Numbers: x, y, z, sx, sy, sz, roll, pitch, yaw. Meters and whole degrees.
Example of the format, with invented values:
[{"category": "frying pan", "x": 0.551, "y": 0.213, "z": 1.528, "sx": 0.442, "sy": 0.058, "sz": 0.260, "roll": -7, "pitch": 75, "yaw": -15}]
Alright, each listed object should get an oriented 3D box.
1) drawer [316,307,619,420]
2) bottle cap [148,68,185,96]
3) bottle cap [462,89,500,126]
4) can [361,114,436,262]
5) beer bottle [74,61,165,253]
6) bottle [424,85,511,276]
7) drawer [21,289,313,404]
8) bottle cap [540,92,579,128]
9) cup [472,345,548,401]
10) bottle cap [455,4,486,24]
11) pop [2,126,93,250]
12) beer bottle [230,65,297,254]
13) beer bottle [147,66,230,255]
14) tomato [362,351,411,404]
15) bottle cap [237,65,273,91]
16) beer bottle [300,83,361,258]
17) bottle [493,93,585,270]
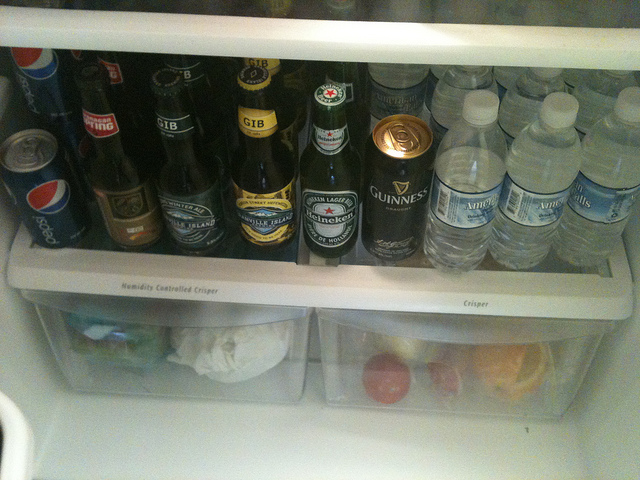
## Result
[{"category": "drawer", "x": 0.306, "y": 0.152, "z": 1.373, "sx": 0.630, "sy": 0.296, "sz": 0.567, "roll": -1, "pitch": 29, "yaw": 5}, {"category": "bottle cap", "x": -0.248, "y": -0.262, "z": 0.880, "sx": 0.054, "sy": 0.023, "sz": 0.063, "roll": 18, "pitch": 47, "yaw": 22}, {"category": "bottle cap", "x": 0.261, "y": -0.218, "z": 0.899, "sx": 0.058, "sy": 0.033, "sz": 0.058, "roll": 25, "pitch": 56, "yaw": 20}, {"category": "can", "x": 0.144, "y": -0.087, "z": 1.021, "sx": 0.119, "sy": 0.292, "sz": 0.114, "roll": -1, "pitch": 52, "yaw": 1}, {"category": "beer bottle", "x": -0.390, "y": -0.148, "z": 1.038, "sx": 0.133, "sy": 0.400, "sz": 0.134, "roll": 2, "pitch": 50, "yaw": -3}, {"category": "bottle", "x": 0.273, "y": -0.119, "z": 1.000, "sx": 0.154, "sy": 0.411, "sz": 0.137, "roll": 0, "pitch": 45, "yaw": 2}, {"category": "drawer", "x": -0.301, "y": 0.219, "z": 1.381, "sx": 0.631, "sy": 0.298, "sz": 0.449, "roll": 4, "pitch": 6, "yaw": 6}, {"category": "bottle cap", "x": 0.404, "y": -0.230, "z": 0.897, "sx": 0.057, "sy": 0.034, "sz": 0.056, "roll": 11, "pitch": 30, "yaw": 7}, {"category": "cup", "x": 0.395, "y": 0.287, "z": 1.163, "sx": 0.154, "sy": 0.117, "sz": 0.061, "roll": -3, "pitch": 18, "yaw": 7}, {"category": "bottle cap", "x": 0.232, "y": -0.349, "z": 0.826, "sx": 0.046, "sy": 0.013, "sz": 0.051, "roll": 5, "pitch": 43, "yaw": 10}, {"category": "pop", "x": -0.525, "y": -0.104, "z": 1.030, "sx": 0.130, "sy": 0.232, "sz": 0.130, "roll": 24, "pitch": 62, "yaw": 8}, {"category": "beer bottle", "x": -0.108, "y": -0.138, "z": 1.016, "sx": 0.121, "sy": 0.360, "sz": 0.119, "roll": 0, "pitch": 40, "yaw": 0}, {"category": "beer bottle", "x": -0.207, "y": -0.139, "z": 1.033, "sx": 0.147, "sy": 0.370, "sz": 0.138, "roll": 0, "pitch": 52, "yaw": 0}, {"category": "tomato", "x": 0.150, "y": 0.307, "z": 1.225, "sx": 0.072, "sy": 0.128, "sz": 0.086, "roll": 16, "pitch": 38, "yaw": 28}, {"category": "bottle cap", "x": -0.107, "y": -0.263, "z": 0.865, "sx": 0.051, "sy": 0.017, "sz": 0.065, "roll": -4, "pitch": 42, "yaw": 0}, {"category": "beer bottle", "x": 0.017, "y": -0.105, "z": 0.957, "sx": 0.104, "sy": 0.294, "sz": 0.099, "roll": -1, "pitch": 51, "yaw": 1}, {"category": "bottle", "x": 0.413, "y": -0.110, "z": 1.010, "sx": 0.121, "sy": 0.357, "sz": 0.189, "roll": 18, "pitch": 47, "yaw": 23}]
